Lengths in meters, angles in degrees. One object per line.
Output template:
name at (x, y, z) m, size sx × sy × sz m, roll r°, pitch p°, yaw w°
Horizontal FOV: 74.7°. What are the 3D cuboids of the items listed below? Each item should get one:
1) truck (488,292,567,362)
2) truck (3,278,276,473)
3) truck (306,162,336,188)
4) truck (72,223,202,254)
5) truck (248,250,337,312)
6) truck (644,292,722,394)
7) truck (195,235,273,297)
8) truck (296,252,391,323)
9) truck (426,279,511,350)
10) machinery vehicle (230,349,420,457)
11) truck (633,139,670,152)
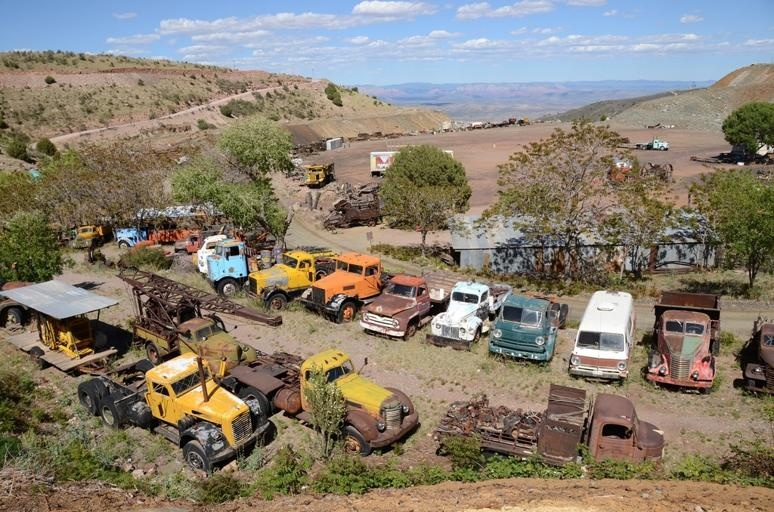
truck at (7.909, 3.616, 28.527) m, size 2.673 × 1.833 × 4.573 m, roll 4°, pitch 10°, yaw 22°
truck at (-12.350, 5.987, 24.723) m, size 15.137 × 3.423 × 3.508 m, roll 17°, pitch 26°, yaw 28°
truck at (-8.814, -10.425, 66.341) m, size 2.419 × 1.854 × 5.111 m, roll -2°, pitch 11°, yaw 6°
truck at (-22.995, -1.488, 46.049) m, size 9.465 × 2.149 × 2.385 m, roll 1°, pitch 31°, yaw -14°
truck at (-6.166, 1.354, 34.254) m, size 5.935 × 2.496 × 3.183 m, roll -12°, pitch 15°, yaw -39°
truck at (15.761, 4.076, 26.954) m, size 3.093 × 2.283 × 6.752 m, roll 1°, pitch 20°, yaw 27°
truck at (-10.587, 0.485, 35.773) m, size 6.298 × 2.809 × 3.202 m, roll -6°, pitch 10°, yaw -44°
truck at (-2.487, 1.790, 32.201) m, size 3.118 × 2.690 × 5.630 m, roll 12°, pitch 19°, yaw 40°
truck at (4.274, 3.357, 28.927) m, size 2.431 × 2.217 × 6.584 m, roll 3°, pitch 13°, yaw 24°
machinery vehicle at (-3.108, 6.540, 23.084) m, size 9.601 × 2.944 × 3.879 m, roll 16°, pitch 25°, yaw 31°
truck at (45.960, -19.127, 88.002) m, size 4.979 × 1.643 × 5.635 m, roll 4°, pitch 17°, yaw 22°
